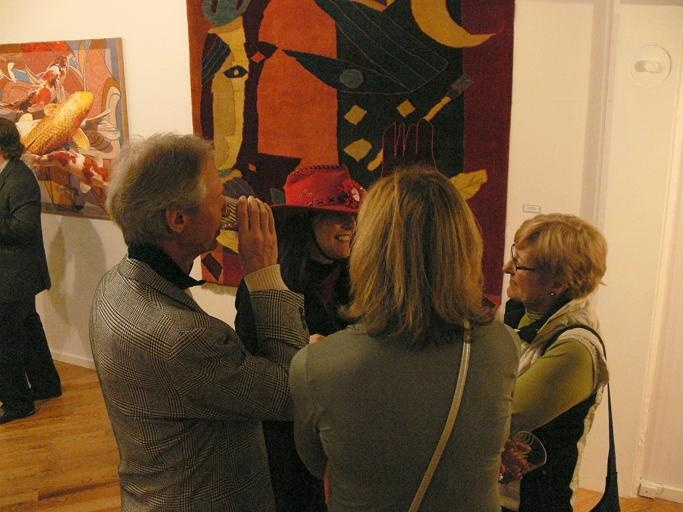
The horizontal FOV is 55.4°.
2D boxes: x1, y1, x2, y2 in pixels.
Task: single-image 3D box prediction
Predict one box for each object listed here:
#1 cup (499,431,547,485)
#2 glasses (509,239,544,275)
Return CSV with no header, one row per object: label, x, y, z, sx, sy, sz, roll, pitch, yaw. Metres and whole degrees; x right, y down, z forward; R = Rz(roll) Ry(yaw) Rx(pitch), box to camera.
cup,0.776,0.875,2.890,0.230,0.231,0.181,17,-9,-41
glasses,0.805,0.000,2.852,0.124,0.038,0.121,9,17,-10
